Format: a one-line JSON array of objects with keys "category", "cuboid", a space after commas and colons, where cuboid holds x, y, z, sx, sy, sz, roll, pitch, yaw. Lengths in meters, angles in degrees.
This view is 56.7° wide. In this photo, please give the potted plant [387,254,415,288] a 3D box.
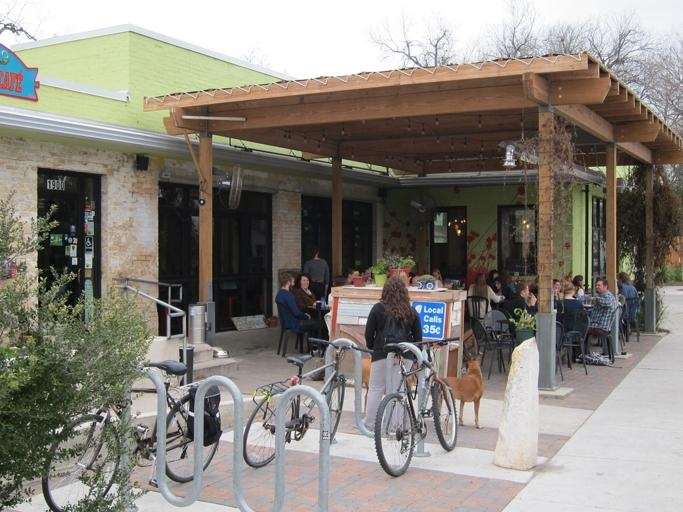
[{"category": "potted plant", "cuboid": [0.862, 0.215, 9.360, 0.384, 0.555, 0.493, -3, -3, 45]}]

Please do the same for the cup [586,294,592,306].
[{"category": "cup", "cuboid": [5.329, 0.956, 13.706, 0.128, 0.218, 0.136, 1, -4, 0]}]

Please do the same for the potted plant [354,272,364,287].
[{"category": "potted plant", "cuboid": [0.241, 0.375, 10.035, 0.136, 0.174, 0.155, -2, -6, 27]}]

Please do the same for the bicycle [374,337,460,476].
[{"category": "bicycle", "cuboid": [0.684, 1.471, 6.122, 0.602, 0.853, 1.398, -3, 2, 22]}]

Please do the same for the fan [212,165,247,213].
[{"category": "fan", "cuboid": [-2.454, -1.474, 13.607, 0.549, 0.955, 0.996, 2, -3, -12]}]

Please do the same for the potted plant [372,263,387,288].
[{"category": "potted plant", "cuboid": [0.590, 0.288, 10.305, 0.307, 0.465, 0.312, 0, -3, -16]}]

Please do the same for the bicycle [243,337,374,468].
[{"category": "bicycle", "cuboid": [-0.480, 1.357, 6.514, 0.719, 1.047, 1.635, 9, 9, 31]}]

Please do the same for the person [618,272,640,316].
[{"category": "person", "cuboid": [6.201, 0.815, 13.717, 0.413, 0.931, 1.031, 0, -1, 25]}]

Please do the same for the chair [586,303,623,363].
[{"category": "chair", "cuboid": [4.828, 1.294, 11.779, 0.538, 1.255, 0.847, 0, -1, 24]}]
